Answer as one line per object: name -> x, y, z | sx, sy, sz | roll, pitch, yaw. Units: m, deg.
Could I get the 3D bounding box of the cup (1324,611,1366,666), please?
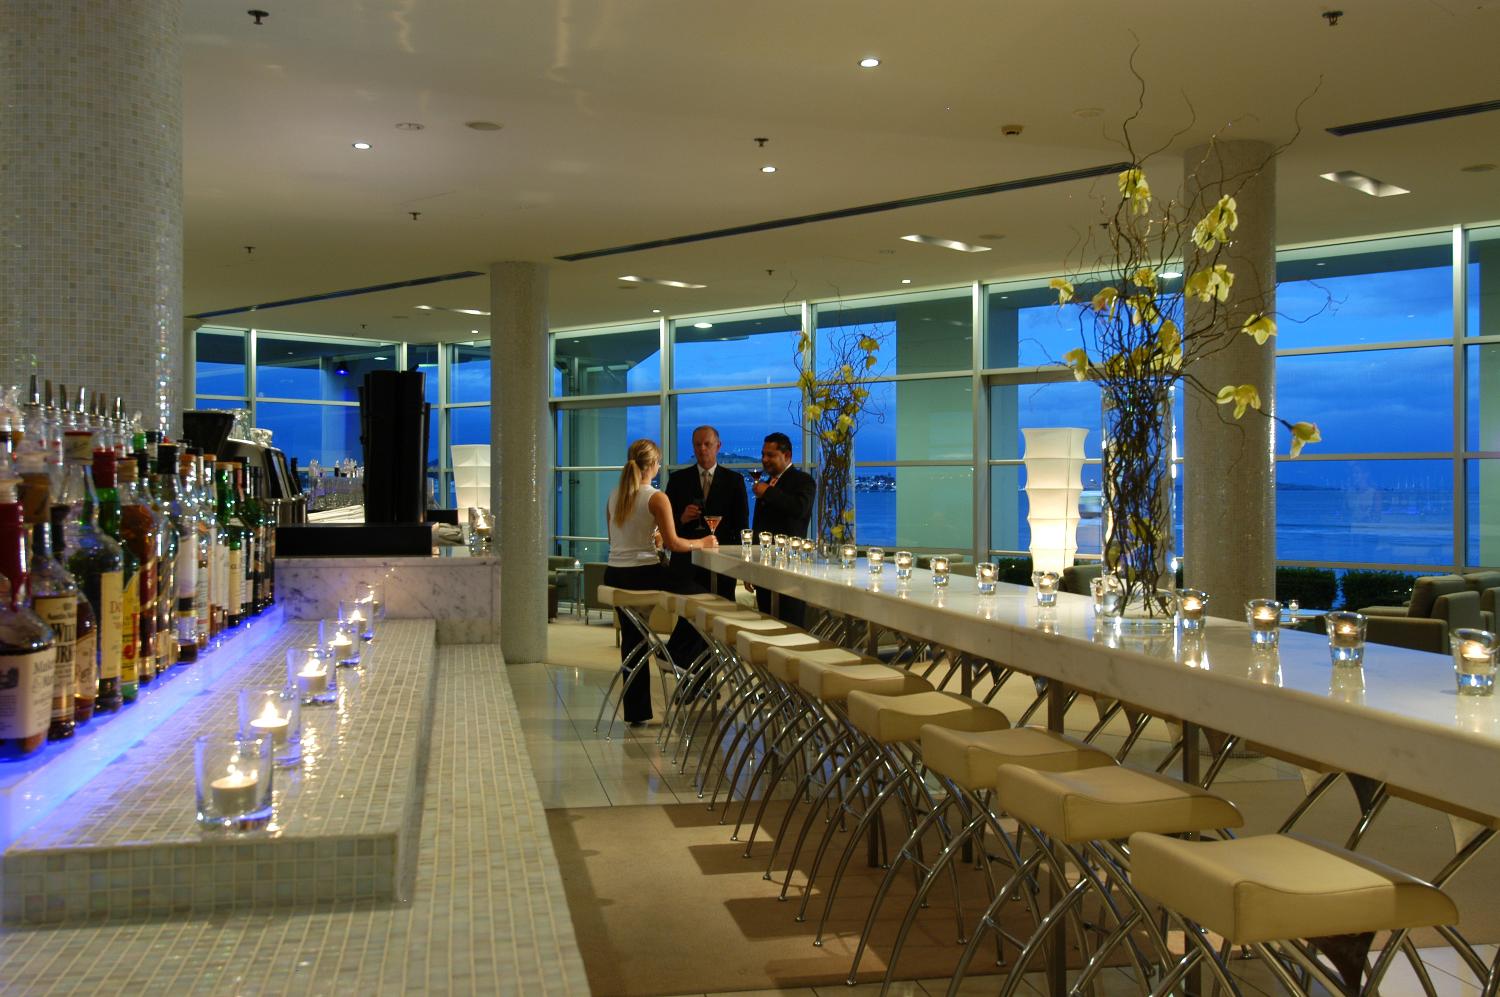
cup -> 1.561, 0.359, 2.795 | 0.087, 0.130, 0.172 | 1, 2, 29

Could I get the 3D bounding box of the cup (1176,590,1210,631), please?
cup -> 1.403, 0.354, 3.365 | 0.110, 0.121, 0.110 | 2, -1, 0

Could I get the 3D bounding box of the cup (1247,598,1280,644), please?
cup -> 1.454, 0.345, 3.018 | 0.081, 0.123, 0.143 | 1, 2, 24

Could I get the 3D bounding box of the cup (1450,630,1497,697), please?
cup -> 1.637, 0.365, 2.410 | 0.082, 0.141, 0.167 | 1, 3, 35

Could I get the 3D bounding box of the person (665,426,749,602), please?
person -> -0.343, 0.423, 8.630 | 0.695, 1.980, 0.607 | -1, 15, -4

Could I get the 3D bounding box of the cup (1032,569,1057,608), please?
cup -> 1.082, 0.325, 3.901 | 0.112, 0.132, 0.110 | -1, -1, 0

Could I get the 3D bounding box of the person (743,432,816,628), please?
person -> 0.195, 0.260, 7.256 | 0.393, 1.469, 0.513 | -15, 28, -35

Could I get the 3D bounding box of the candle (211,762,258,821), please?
candle -> -0.935, 0.531, 1.944 | 0.088, 0.066, 0.090 | 1, 1, 5

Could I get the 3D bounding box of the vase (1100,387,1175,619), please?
vase -> 1.218, 0.000, 3.346 | 0.205, 0.700, 0.212 | 1, 2, 19

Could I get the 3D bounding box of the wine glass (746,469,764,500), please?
wine glass -> 0.035, -0.113, 7.715 | 0.065, 0.186, 0.146 | -3, -5, 37

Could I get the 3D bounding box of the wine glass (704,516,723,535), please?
wine glass -> -0.267, 0.193, 7.844 | 0.118, 0.099, 0.123 | -1, -2, -1

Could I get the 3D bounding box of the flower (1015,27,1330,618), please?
flower -> 2.978, -0.762, 6.682 | 0.928, 3.467, 1.140 | -21, 23, -16

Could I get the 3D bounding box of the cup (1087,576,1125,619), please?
cup -> 1.121, 0.314, 3.385 | 0.113, 0.148, 0.122 | -1, -1, 0
